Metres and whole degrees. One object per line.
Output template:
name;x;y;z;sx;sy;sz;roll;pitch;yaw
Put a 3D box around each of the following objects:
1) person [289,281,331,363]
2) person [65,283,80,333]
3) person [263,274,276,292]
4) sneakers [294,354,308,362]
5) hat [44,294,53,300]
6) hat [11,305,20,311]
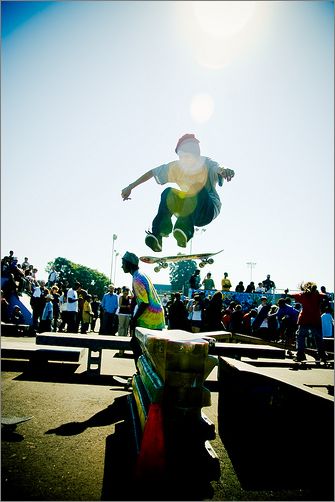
person;2.424;1.230;6.200;0.532;1.378;1.088;1;-9;26
person;-2.388;1.437;9.106;0.348;1.257;1.111;7;-9;-13
person;5.327;1.721;19.032;0.610;0.887;0.808;3;-9;15
sneakers;2.324;1.880;6.278;0.169;0.136;0.102;-1;-24;3
hat;-2.924;1.152;8.914;0.175;0.100;0.257;7;1;6
hat;-4.312;1.663;10.344;0.179;0.193;0.179;9;2;34
